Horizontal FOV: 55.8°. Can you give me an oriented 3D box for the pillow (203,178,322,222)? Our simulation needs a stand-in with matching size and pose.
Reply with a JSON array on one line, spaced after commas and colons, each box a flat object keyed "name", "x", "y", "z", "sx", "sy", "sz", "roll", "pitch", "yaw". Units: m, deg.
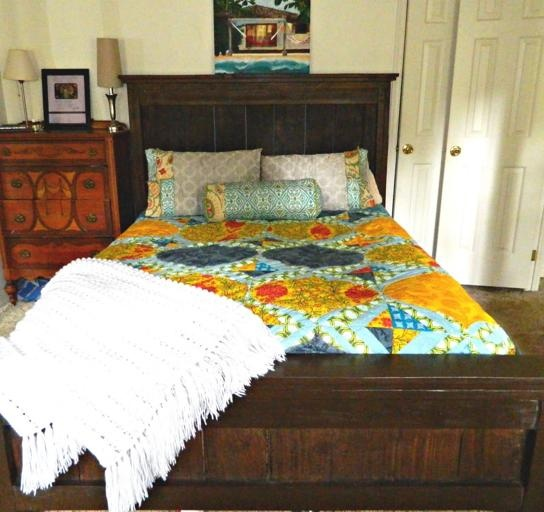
[{"name": "pillow", "x": -0.039, "y": -0.305, "z": 2.707, "sx": 0.592, "sy": 0.162, "sz": 0.151, "roll": -1, "pitch": 15, "yaw": 3}]

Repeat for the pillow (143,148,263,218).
[{"name": "pillow", "x": -0.341, "y": -0.389, "z": 2.796, "sx": 0.771, "sy": 0.351, "sz": 0.122, "roll": 5, "pitch": 9, "yaw": 32}]
